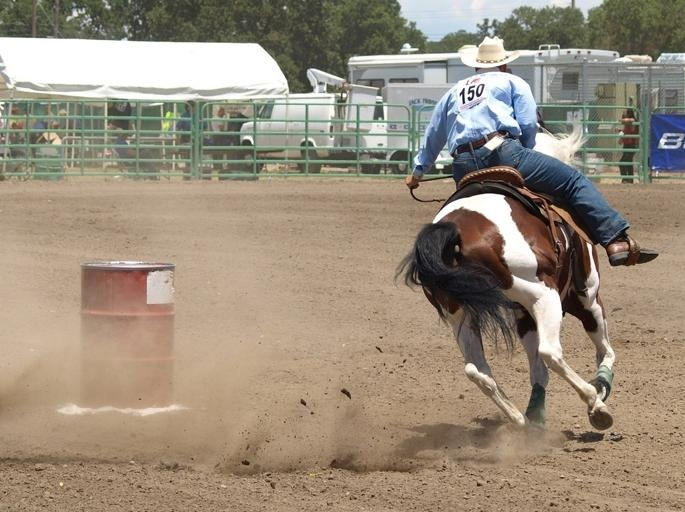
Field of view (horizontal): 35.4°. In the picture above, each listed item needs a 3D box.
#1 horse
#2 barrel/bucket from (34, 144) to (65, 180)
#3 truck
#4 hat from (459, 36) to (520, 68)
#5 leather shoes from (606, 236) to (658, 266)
[{"bbox_3d":[1.852,0.319,10.195,1.137,2.540,3.725,-19,-8,29],"label":"horse"},{"bbox_3d":[-6.617,-2.088,23.884,0.769,1.017,0.817,1,9,0],"label":"barrel/bucket"},{"bbox_3d":[0.184,-3.304,25.065,4.870,2.293,2.577,1,1,8],"label":"truck"},{"bbox_3d":[1.414,-1.896,10.049,0.484,0.174,0.520,3,19,17],"label":"hat"},{"bbox_3d":[2.588,-0.055,9.595,0.620,0.273,0.216,-10,-8,-42],"label":"leather shoes"}]
